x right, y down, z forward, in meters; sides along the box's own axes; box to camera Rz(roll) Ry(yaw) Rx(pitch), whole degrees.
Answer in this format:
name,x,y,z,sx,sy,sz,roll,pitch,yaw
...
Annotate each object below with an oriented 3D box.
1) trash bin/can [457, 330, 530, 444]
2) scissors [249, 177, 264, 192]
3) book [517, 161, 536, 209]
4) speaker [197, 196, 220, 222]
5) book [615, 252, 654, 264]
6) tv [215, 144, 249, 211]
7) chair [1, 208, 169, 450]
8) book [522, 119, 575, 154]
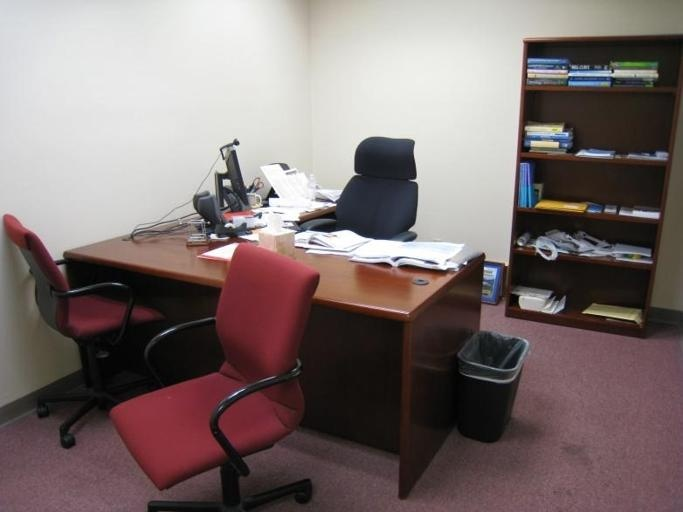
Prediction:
name,x,y,z,sx,sy,sz,roll,pitch,yaw
trash bin/can,0.842,0.735,2.802,0.314,0.508,0.347,7,25,28
scissors,-0.712,-0.581,4.234,0.072,0.035,0.172,18,47,-18
book,1.384,-0.523,3.801,0.098,0.285,0.274,2,16,19
speaker,-0.836,-0.291,3.168,0.120,0.183,0.096,12,23,31
book,2.094,0.008,3.622,0.225,0.066,0.098,12,21,26
tv,-0.821,-0.548,3.672,0.178,0.484,0.459,-11,11,-20
chair,-1.586,0.186,3.478,1.059,1.803,1.042,-12,22,-38
book,1.518,-0.868,3.744,0.341,0.204,0.174,8,19,15
